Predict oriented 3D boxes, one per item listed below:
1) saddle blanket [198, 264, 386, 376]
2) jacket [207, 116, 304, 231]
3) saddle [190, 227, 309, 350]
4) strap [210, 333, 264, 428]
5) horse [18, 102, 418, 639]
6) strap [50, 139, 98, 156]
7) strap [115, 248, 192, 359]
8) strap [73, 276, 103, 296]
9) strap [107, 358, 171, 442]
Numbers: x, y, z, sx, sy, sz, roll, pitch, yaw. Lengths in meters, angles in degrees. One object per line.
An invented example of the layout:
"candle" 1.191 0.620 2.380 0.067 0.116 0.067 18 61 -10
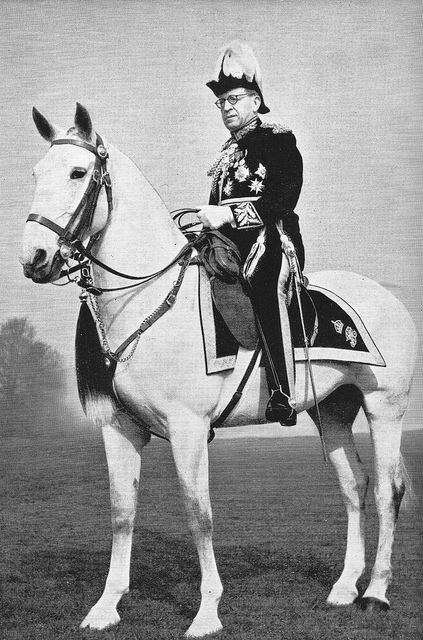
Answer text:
"saddle blanket" 0.345 0.050 4.725 0.668 0.421 0.199 1 13 -23
"jacket" 0.125 -0.637 4.924 0.530 0.521 0.235 -12 -28 -11
"saddle" 0.128 -0.137 4.653 0.376 0.430 0.123 1 -13 -45
"strap" 0.108 0.256 4.806 0.214 0.348 0.329 11 15 37
"horse" 0.034 0.233 4.843 1.679 2.194 0.554 1 12 -9
"strap" -0.539 -0.681 4.517 0.185 0.060 0.056 2 11 -3
"strap" -0.179 -0.066 4.610 0.285 0.387 0.260 8 14 39
"strap" -0.497 -0.132 4.601 0.106 0.081 0.049 -5 13 -33
"strap" -0.300 0.317 4.666 0.256 0.338 0.097 2 12 -4
